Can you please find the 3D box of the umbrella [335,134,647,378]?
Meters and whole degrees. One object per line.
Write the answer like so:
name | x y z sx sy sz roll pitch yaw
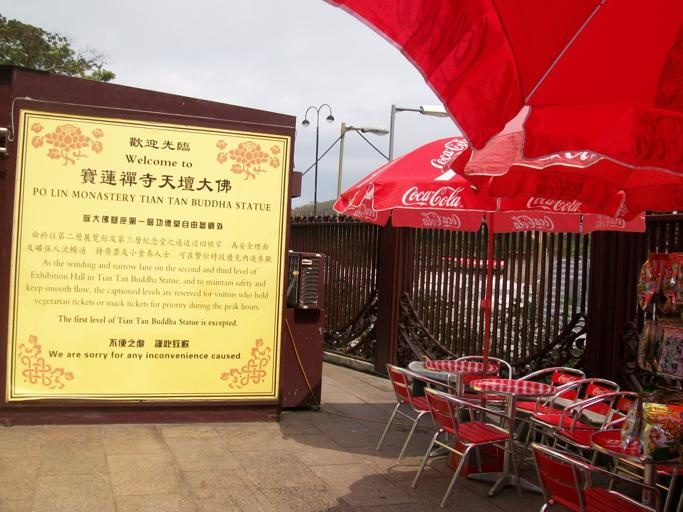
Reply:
umbrella | 1.586 0.178 6.916 2.922 2.400 2.928 -1 4 -12
